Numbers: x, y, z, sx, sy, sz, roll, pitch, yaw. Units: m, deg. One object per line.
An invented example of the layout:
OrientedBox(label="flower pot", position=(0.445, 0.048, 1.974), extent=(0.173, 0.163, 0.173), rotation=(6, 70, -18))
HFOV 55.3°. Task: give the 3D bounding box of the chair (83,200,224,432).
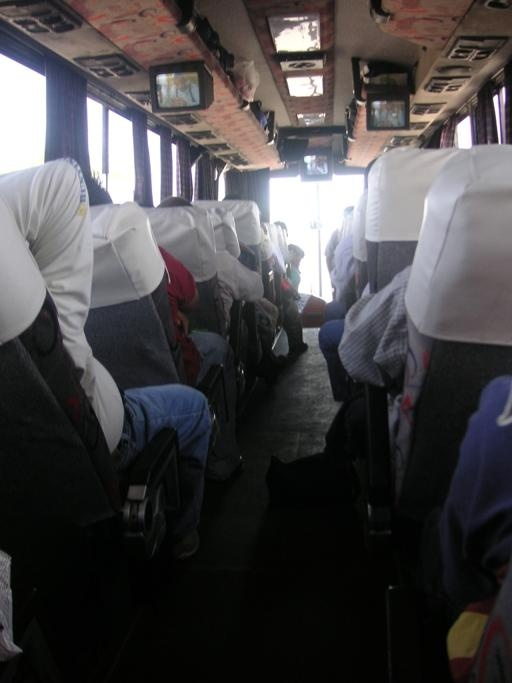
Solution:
OrientedBox(label="chair", position=(-0.214, -0.114, 1.459), extent=(0.251, 0.618, 0.433), rotation=(1, 10, 11))

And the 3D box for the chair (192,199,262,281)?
OrientedBox(label="chair", position=(-0.145, -0.758, 3.599), extent=(0.352, 0.689, 0.541), rotation=(2, 15, 14))

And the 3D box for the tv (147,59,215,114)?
OrientedBox(label="tv", position=(-0.682, -2.151, 4.373), extent=(0.495, 0.487, 0.453), rotation=(-5, -7, -10))

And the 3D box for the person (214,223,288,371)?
OrientedBox(label="person", position=(-0.019, -0.260, 3.170), extent=(0.414, 0.980, 0.715), rotation=(8, 27, 21))

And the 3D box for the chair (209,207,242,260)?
OrientedBox(label="chair", position=(-0.181, -0.656, 2.924), extent=(0.117, 0.225, 0.119), rotation=(5, 30, -4))
